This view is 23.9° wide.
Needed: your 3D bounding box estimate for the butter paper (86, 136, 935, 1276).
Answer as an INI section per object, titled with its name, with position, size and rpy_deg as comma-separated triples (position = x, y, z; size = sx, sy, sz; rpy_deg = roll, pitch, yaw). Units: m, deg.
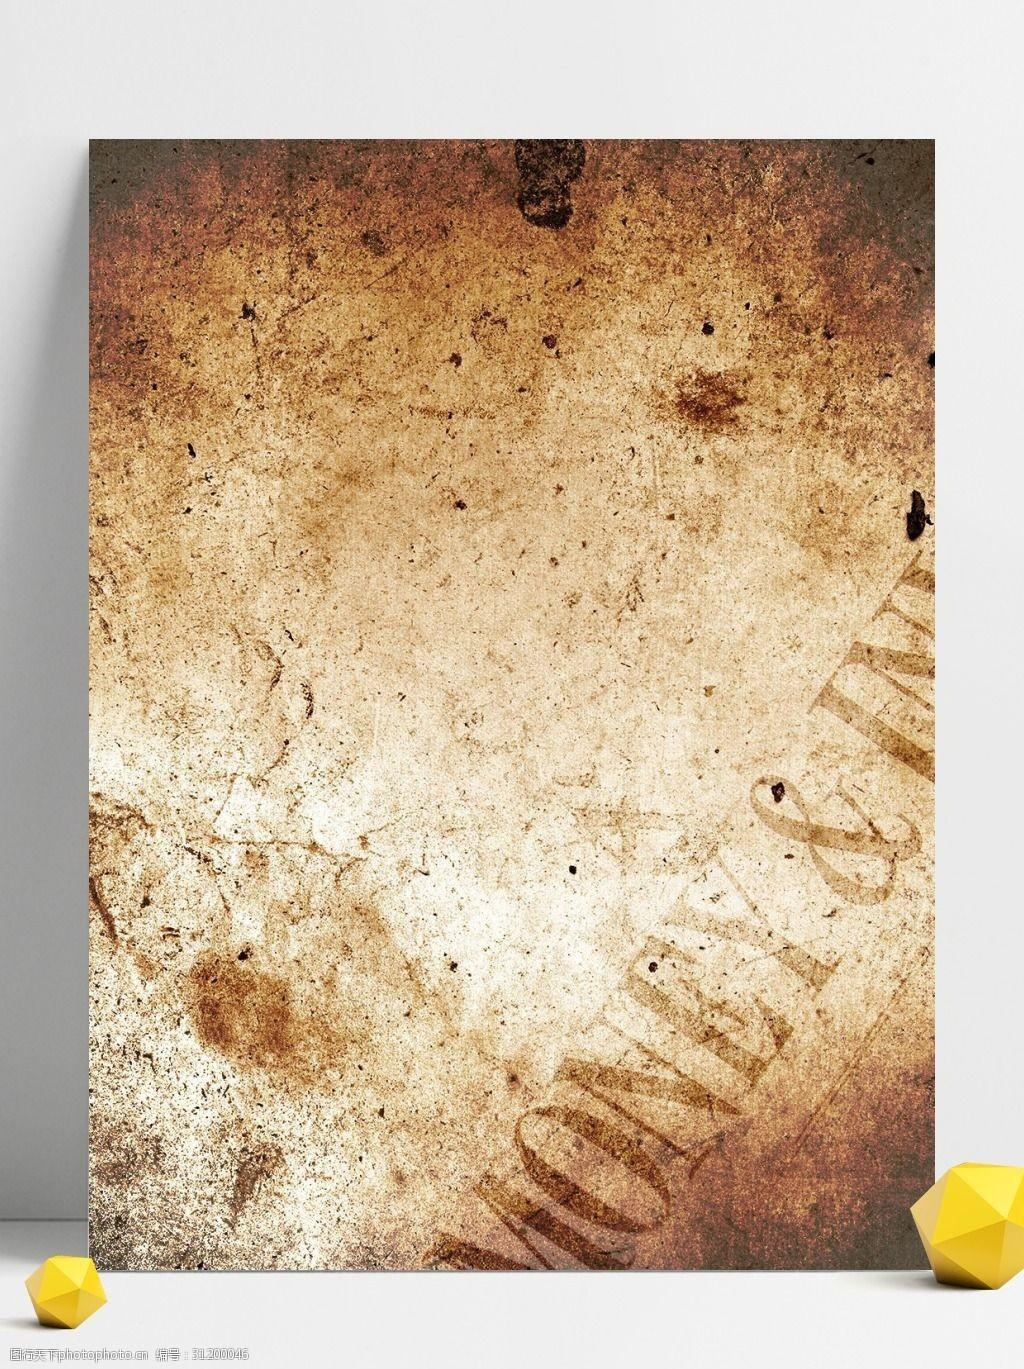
[butter paper]
position = -0.001, 0.023, 3.503
size = 1.224, 0.147, 1.612
rpy_deg = 0, 84, 1
